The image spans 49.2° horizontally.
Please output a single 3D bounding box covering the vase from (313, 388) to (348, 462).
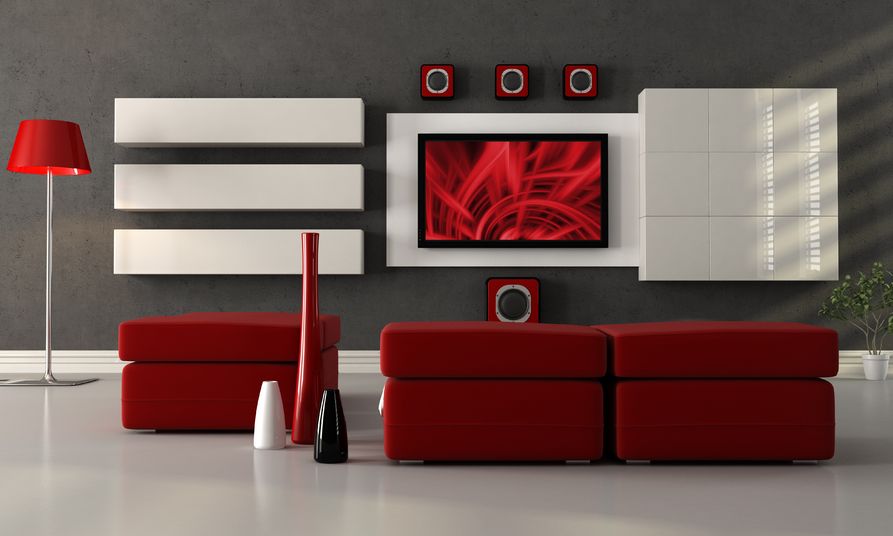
[{"bbox_3d":[-0.746,0.998,6.199,0.216,0.455,0.157,-1,2,-6],"label":"vase"}]

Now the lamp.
[{"bbox_3d":[-3.360,-0.142,8.135,0.764,2.198,0.645,-2,2,-14],"label":"lamp"}]

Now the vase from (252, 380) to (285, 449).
[{"bbox_3d":[-1.164,0.956,6.365,0.211,0.428,0.149,-2,2,-14],"label":"vase"}]

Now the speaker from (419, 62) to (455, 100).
[{"bbox_3d":[-0.080,-1.596,8.415,0.312,0.309,0.100,-1,2,-1],"label":"speaker"}]

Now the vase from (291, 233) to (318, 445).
[{"bbox_3d":[-0.936,0.464,6.433,0.207,1.371,0.167,-1,2,2],"label":"vase"}]
